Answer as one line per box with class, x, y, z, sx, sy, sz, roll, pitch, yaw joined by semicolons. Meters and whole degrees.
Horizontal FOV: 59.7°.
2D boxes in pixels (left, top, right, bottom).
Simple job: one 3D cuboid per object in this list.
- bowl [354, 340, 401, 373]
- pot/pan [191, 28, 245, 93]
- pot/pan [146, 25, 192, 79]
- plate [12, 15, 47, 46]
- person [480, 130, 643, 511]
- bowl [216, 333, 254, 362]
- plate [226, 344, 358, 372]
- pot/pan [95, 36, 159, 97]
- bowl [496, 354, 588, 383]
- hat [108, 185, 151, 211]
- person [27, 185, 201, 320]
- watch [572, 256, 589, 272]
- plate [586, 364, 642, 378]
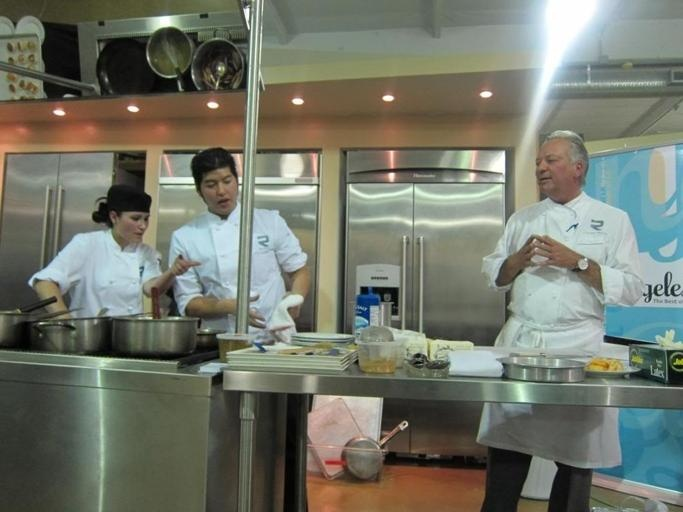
bowl;0.125;0.346;2.032;0.120;0.080;0.103;-2;-4;10
pot/pan;-0.509;-0.777;2.367;0.184;0.220;0.086;5;28;5
pot/pan;-0.711;-0.842;2.466;0.201;0.199;0.071;0;13;12
plate;-1.345;-0.980;2.576;0.153;0.112;0.035;1;-4;20
person;0.986;0.216;2.795;0.735;1.751;0.835;0;-4;28
bowl;-0.386;0.323;2.126;0.105;0.077;0.105;1;-5;0
plate;-0.165;0.357;2.117;0.427;0.074;0.262;2;-3;3
pot/pan;-0.914;-0.801;2.521;0.269;0.219;0.075;1;-3;17
bowl;0.688;0.385;2.035;0.294;0.071;0.197;1;-3;6
hat;-1.067;-0.286;3.006;0.180;0.094;0.129;8;7;30
person;-1.211;0.155;3.099;0.684;0.976;0.544;-2;22;-30
watch;1.122;0.039;2.791;0.064;0.069;0.047;1;-4;21
plate;0.940;0.403;2.059;0.217;0.034;0.072;3;-4;-25
